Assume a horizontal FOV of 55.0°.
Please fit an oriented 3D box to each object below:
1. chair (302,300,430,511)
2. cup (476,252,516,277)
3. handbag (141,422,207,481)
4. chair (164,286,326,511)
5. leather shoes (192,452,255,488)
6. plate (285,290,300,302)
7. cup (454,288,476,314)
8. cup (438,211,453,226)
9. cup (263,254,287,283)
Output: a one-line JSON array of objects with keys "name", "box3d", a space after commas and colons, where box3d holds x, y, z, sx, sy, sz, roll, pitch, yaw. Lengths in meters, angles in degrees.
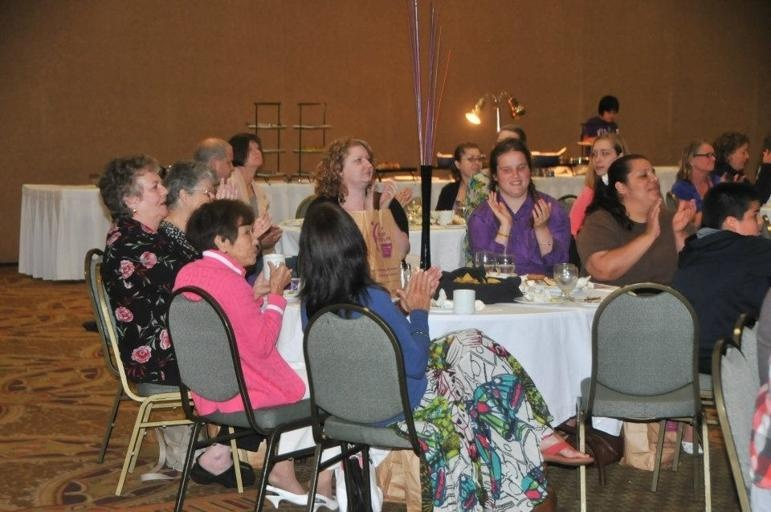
[{"name": "chair", "box3d": [-0.123, 0.625, 3.602, 0.557, 0.824, 0.274, -1, 8, 1]}, {"name": "cup", "box3d": [0.651, 0.048, 4.423, 0.232, 0.139, 0.243, -1, 8, 0]}, {"name": "handbag", "box3d": [-1.336, 1.226, 4.631, 0.345, 0.403, 0.166, 3, -16, 16]}, {"name": "chair", "box3d": [-0.769, 0.767, 3.805, 0.733, 1.226, 0.434, -1, 8, -5]}, {"name": "leather shoes", "box3d": [-0.978, 1.288, 4.417, 0.304, 0.122, 0.178, 0, 6, -4]}, {"name": "plate", "box3d": [-0.531, 0.229, 4.141, 0.081, 0.054, 0.049, 4, 12, -2]}, {"name": "cup", "box3d": [0.419, 0.251, 4.045, 0.113, 0.122, 0.116, 2, -1, 0]}, {"name": "cup", "box3d": [0.546, -0.342, 6.866, 0.142, 0.118, 0.119, -2, 4, 11]}, {"name": "cup", "box3d": [-0.650, 0.060, 4.252, 0.119, 0.144, 0.159, 0, -1, -1]}]
